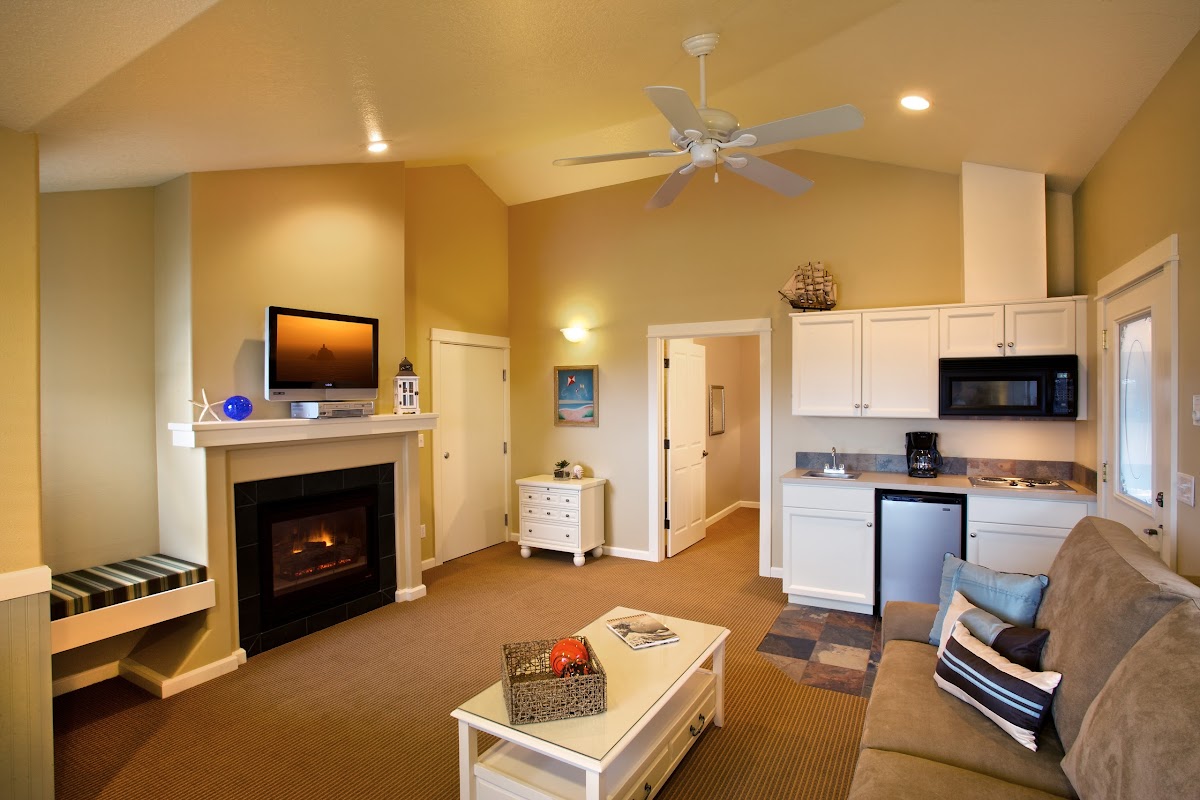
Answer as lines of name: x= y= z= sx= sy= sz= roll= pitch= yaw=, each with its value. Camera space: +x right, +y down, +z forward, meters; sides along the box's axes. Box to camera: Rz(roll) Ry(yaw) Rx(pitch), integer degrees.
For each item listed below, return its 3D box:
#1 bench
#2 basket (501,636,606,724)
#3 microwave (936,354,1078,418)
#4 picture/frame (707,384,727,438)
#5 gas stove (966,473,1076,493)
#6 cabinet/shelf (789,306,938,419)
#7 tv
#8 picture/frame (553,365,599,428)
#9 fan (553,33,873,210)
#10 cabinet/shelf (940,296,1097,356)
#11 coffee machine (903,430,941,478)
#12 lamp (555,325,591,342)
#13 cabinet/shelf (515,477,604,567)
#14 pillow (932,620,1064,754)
bench: x=-2.950 y=1.259 z=5.253 sx=0.889 sy=0.373 sz=0.553 roll=-2 pitch=3 yaw=-33
basket: x=-0.247 y=1.445 z=4.245 sx=0.422 sy=0.187 sz=0.414 roll=-1 pitch=3 yaw=-14
microwave: x=2.931 y=-0.093 z=5.948 sx=0.885 sy=0.443 sz=0.178 roll=0 pitch=3 yaw=13
picture/frame: x=1.265 y=0.125 z=9.040 sx=0.046 sy=0.446 sz=0.610 roll=0 pitch=-1 yaw=21
gas stove: x=3.054 y=0.603 z=6.013 sx=0.634 sy=0.039 sz=0.565 roll=1 pitch=3 yaw=27
cabinet/shelf: x=2.087 y=-0.285 z=6.608 sx=1.179 sy=0.860 sz=0.448 roll=0 pitch=4 yaw=24
tv: x=-2.033 y=-0.329 z=5.941 sx=0.079 sy=0.541 sz=0.753 roll=0 pitch=-2 yaw=31
picture/frame: x=-0.212 y=-0.034 z=8.007 sx=0.610 sy=0.724 sz=0.048 roll=-1 pitch=-3 yaw=25
fan: x=0.717 y=-1.696 z=4.733 sx=1.193 sy=0.938 sz=1.274 roll=-1 pitch=2 yaw=-1
cabinet/shelf: x=2.993 y=-0.510 z=6.096 sx=0.937 sy=0.464 sz=0.329 roll=-1 pitch=16 yaw=25
coffee machine: x=2.491 y=0.422 z=6.378 sx=0.219 sy=0.338 sz=0.200 roll=0 pitch=3 yaw=17
lamp: x=-0.255 y=-0.629 z=7.994 sx=0.314 sy=0.173 sz=0.120 roll=0 pitch=3 yaw=19
cabinet/shelf: x=-0.351 y=1.151 z=7.881 sx=0.772 sy=0.730 sz=0.599 roll=1 pitch=1 yaw=38
pillow: x=1.988 y=1.447 z=4.088 sx=0.188 sy=0.370 sz=0.549 roll=10 pitch=1 yaw=-25
